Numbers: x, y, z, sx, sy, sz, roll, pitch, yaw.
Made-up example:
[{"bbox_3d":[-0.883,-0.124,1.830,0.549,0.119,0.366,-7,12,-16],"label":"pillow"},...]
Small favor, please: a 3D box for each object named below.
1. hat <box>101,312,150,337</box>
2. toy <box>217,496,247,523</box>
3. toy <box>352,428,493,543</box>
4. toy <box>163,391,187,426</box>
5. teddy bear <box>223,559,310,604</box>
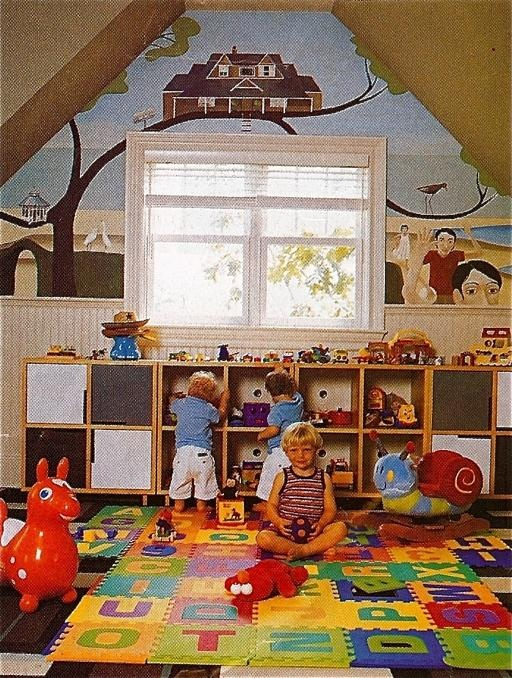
[{"bbox_3d":[-0.636,-0.064,3.010,0.159,0.063,0.166,-2,0,18],"label":"hat"},{"bbox_3d":[-0.102,0.735,2.560,0.116,0.085,0.124,1,-1,-3],"label":"toy"},{"bbox_3d":[0.681,0.597,2.519,0.554,0.393,0.415,1,-1,8],"label":"toy"},{"bbox_3d":[-0.407,0.360,3.019,0.135,0.235,0.132,2,-3,-1],"label":"toy"},{"bbox_3d":[0.047,0.726,1.803,0.190,0.070,0.136,-9,-8,2],"label":"teddy bear"}]
